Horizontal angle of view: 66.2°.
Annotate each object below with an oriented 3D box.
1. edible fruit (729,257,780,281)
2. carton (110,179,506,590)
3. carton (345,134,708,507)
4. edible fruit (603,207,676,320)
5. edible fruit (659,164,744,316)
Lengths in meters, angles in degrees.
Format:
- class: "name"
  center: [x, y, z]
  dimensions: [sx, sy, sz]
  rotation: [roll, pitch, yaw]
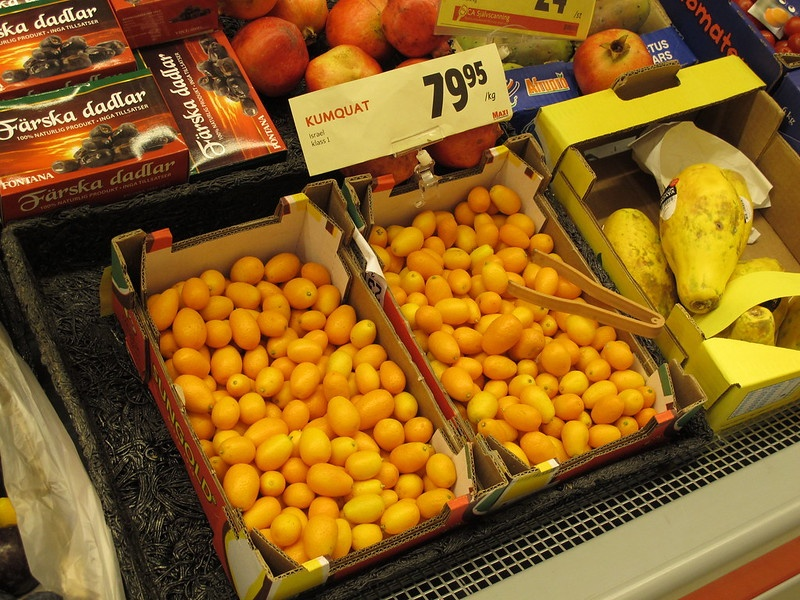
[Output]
- class: "edible fruit"
  center: [1.307, -0.126, 2.263]
  dimensions: [0.176, 0.057, 0.105]
  rotation: [-13, 23, 1]
- class: "carton"
  center: [-0.397, 0.430, 1.946]
  dimensions: [0.910, 0.440, 1.319]
  rotation: [-25, 75, -30]
- class: "carton"
  center: [0.300, 0.012, 2.263]
  dimensions: [0.838, 0.408, 1.382]
  rotation: [-29, 79, -22]
- class: "edible fruit"
  center: [0.870, -0.169, 2.323]
  dimensions: [0.205, 0.208, 0.436]
  rotation: [-33, 81, 14]
- class: "edible fruit"
  center: [1.050, -0.234, 2.246]
  dimensions: [0.269, 0.270, 0.552]
  rotation: [27, 58, -23]
